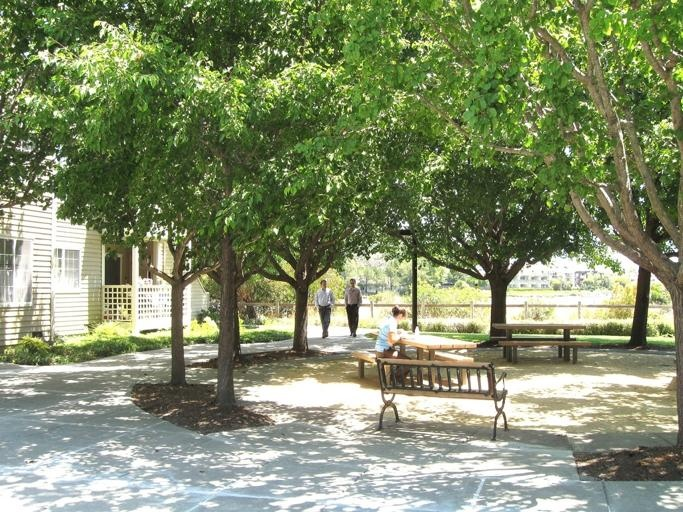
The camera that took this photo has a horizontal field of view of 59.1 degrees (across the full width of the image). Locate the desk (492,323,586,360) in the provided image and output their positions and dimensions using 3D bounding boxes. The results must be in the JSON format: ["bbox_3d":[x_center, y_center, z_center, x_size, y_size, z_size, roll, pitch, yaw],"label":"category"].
[{"bbox_3d":[5.464,2.309,16.920,1.698,0.791,2.053,0,2,13],"label":"desk"}]

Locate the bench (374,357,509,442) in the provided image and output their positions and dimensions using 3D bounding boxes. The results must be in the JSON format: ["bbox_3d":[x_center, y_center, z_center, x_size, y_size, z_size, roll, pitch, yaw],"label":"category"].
[{"bbox_3d":[1.596,2.200,9.664,1.952,1.168,0.695,-4,-1,31],"label":"bench"}]
